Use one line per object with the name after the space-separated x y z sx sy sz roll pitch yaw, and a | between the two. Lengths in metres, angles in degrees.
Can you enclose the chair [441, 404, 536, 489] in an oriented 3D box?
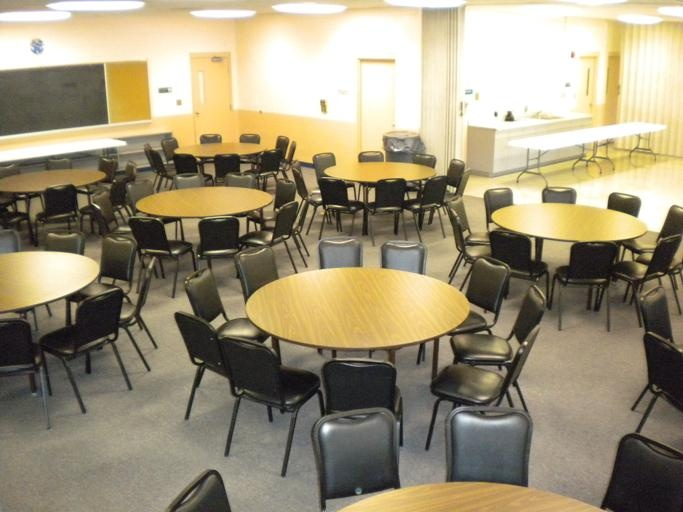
0.754 1.021 3.176 0.480 0.529 0.461 0 15 3 | chair
